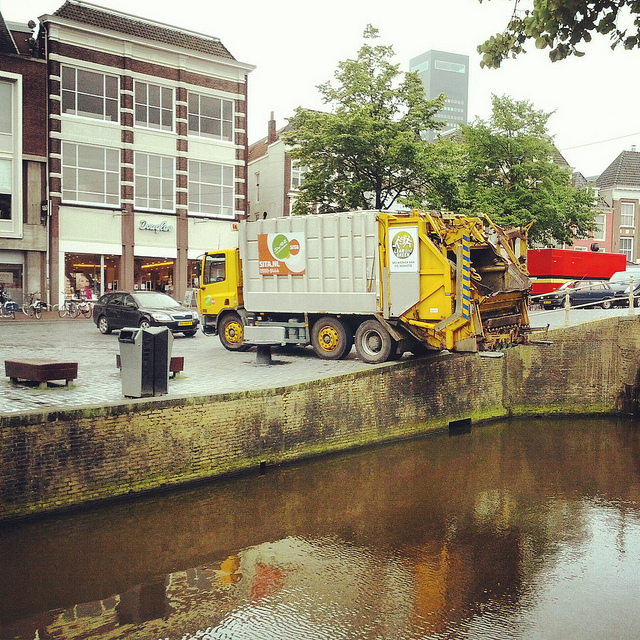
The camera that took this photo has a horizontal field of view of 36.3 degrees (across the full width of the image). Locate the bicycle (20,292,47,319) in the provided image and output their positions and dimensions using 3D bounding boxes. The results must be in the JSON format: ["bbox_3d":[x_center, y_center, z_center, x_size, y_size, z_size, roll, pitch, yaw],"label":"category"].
[{"bbox_3d":[-10.029,-0.534,34.656,0.707,0.833,1.548,-3,8,-38],"label":"bicycle"}]

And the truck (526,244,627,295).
[{"bbox_3d":[10.877,-1.803,40.784,4.324,2.347,1.372,0,6,-24],"label":"truck"}]

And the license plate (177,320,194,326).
[{"bbox_3d":[-3.377,0.077,24.750,0.022,0.124,0.514,7,12,37],"label":"license plate"}]

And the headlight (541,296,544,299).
[{"bbox_3d":[8.218,-0.852,36.216,0.105,0.091,0.157,-2,2,-6],"label":"headlight"}]

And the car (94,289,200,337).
[{"bbox_3d":[-4.673,-0.211,25.500,2.941,1.180,1.422,-1,0,37],"label":"car"}]

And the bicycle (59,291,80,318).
[{"bbox_3d":[-8.783,-0.412,34.664,0.826,0.578,0.441,9,7,40],"label":"bicycle"}]

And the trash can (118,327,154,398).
[{"bbox_3d":[-2.559,0.609,13.996,0.588,1.037,0.604,0,4,-10],"label":"trash can"}]

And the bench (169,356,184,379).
[{"bbox_3d":[-2.345,0.790,16.515,0.239,0.411,0.275,1,-2,10],"label":"bench"}]

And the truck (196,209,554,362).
[{"bbox_3d":[0.249,-0.747,19.539,6.146,2.883,2.397,1,7,27],"label":"truck"}]

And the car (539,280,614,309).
[{"bbox_3d":[9.112,-1.070,34.619,1.983,0.924,1.177,-2,-1,-12],"label":"car"}]
